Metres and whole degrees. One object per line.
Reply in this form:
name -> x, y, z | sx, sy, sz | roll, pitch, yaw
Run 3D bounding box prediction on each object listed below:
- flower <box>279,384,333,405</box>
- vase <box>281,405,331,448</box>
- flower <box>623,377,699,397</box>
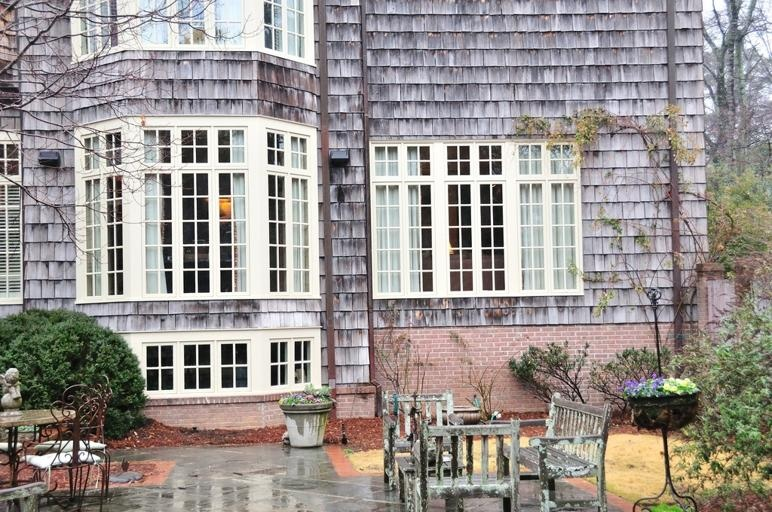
flower -> -1.425, 2.514, 21.155 | 0.936, 0.360, 0.559 | -1, -6, -15
vase -> -1.408, 3.120, 21.076 | 0.773, 0.632, 0.769 | 12, -17, -43
flower -> 4.119, 1.985, 17.740 | 1.077, 0.291, 0.308 | -5, -6, 16
